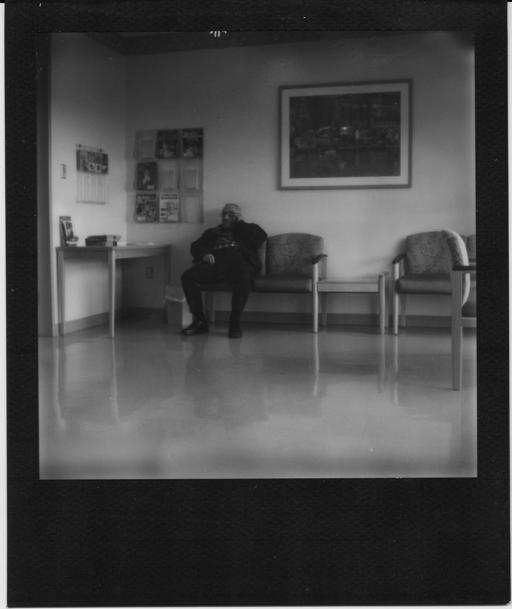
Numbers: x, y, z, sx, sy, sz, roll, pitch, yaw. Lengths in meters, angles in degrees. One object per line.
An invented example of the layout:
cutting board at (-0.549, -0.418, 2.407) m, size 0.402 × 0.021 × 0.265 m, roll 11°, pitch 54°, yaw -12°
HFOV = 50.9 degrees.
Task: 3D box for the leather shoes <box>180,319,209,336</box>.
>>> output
leather shoes at (-0.324, 0.121, 2.936) m, size 0.168 × 0.111 × 0.060 m, roll 3°, pitch 2°, yaw -33°

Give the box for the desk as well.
desk at (-0.790, -0.097, 2.993) m, size 0.384 × 0.473 × 0.816 m, roll 1°, pitch 5°, yaw 12°

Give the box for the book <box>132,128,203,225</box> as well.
book at (-0.560, -0.819, 3.456) m, size 0.453 × 0.795 × 0.056 m, roll 1°, pitch 3°, yaw 17°

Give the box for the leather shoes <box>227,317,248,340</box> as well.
leather shoes at (-0.109, 0.120, 2.822) m, size 0.078 × 0.098 × 0.187 m, roll 0°, pitch 5°, yaw -2°
